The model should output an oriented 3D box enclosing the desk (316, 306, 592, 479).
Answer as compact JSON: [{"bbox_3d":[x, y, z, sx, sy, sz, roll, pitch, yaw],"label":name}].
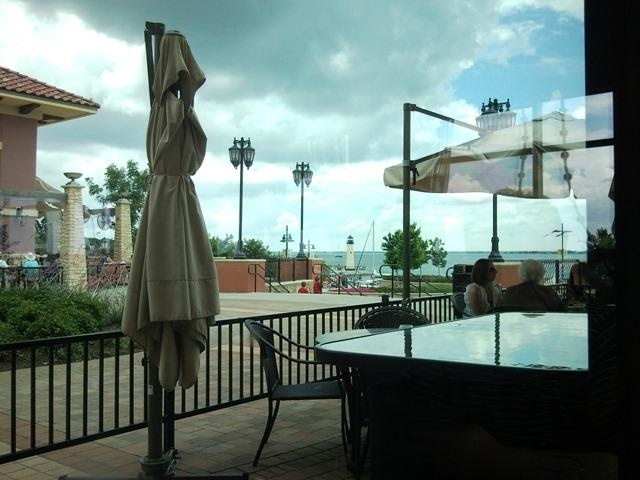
[{"bbox_3d":[1.082,1.149,5.467,1.899,1.120,1.472,6,-1,17],"label":"desk"}]

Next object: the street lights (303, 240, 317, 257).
[{"bbox_3d":[-0.571,0.470,38.350,0.924,1.395,0.336,0,-3,-9],"label":"street lights"}]

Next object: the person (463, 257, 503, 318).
[{"bbox_3d":[1.818,0.507,7.772,0.522,0.802,0.600,-1,3,16],"label":"person"}]

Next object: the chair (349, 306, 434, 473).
[{"bbox_3d":[0.439,1.194,6.032,1.067,1.566,1.104,0,-9,5],"label":"chair"}]

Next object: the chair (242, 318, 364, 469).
[{"bbox_3d":[-0.218,1.445,6.731,1.153,1.630,1.196,-2,-3,8],"label":"chair"}]
